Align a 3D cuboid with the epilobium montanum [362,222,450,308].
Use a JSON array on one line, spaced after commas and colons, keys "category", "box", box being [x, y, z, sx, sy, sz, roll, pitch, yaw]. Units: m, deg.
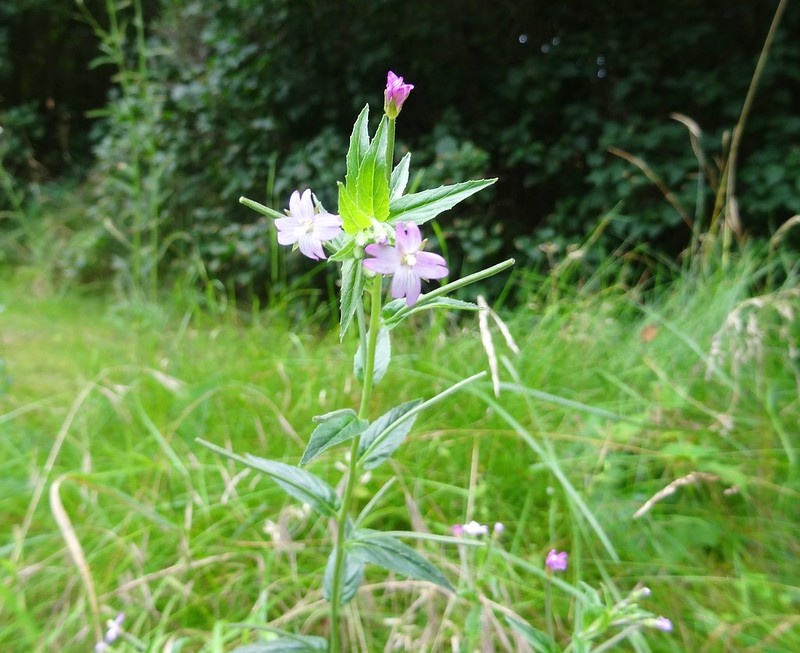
[{"category": "epilobium montanum", "box": [0.019, -0.166, 1.893, 0.150, 0.193, 0.078, 21, 10, -5]}]
